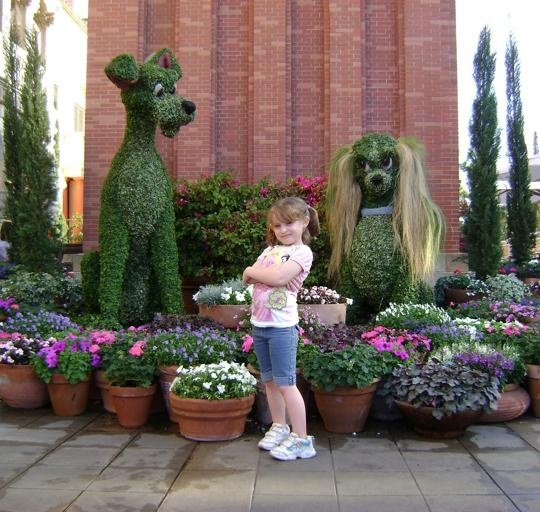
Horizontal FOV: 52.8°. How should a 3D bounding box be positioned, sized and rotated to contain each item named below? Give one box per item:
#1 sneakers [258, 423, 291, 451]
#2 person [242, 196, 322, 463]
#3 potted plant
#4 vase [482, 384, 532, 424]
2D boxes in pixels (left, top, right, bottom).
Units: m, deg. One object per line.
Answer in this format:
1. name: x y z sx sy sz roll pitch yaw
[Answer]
1. sneakers: 0.037 1.362 4.027 0.126 0.137 0.339 -3 -7 36
2. person: 0.073 0.524 3.985 0.547 1.918 0.483 0 3 4
3. potted plant: 1.359 1.112 4.482 0.743 0.345 0.679 -3 2 0
4. vase: 2.100 1.264 4.818 0.446 0.216 0.411 -2 -5 2
